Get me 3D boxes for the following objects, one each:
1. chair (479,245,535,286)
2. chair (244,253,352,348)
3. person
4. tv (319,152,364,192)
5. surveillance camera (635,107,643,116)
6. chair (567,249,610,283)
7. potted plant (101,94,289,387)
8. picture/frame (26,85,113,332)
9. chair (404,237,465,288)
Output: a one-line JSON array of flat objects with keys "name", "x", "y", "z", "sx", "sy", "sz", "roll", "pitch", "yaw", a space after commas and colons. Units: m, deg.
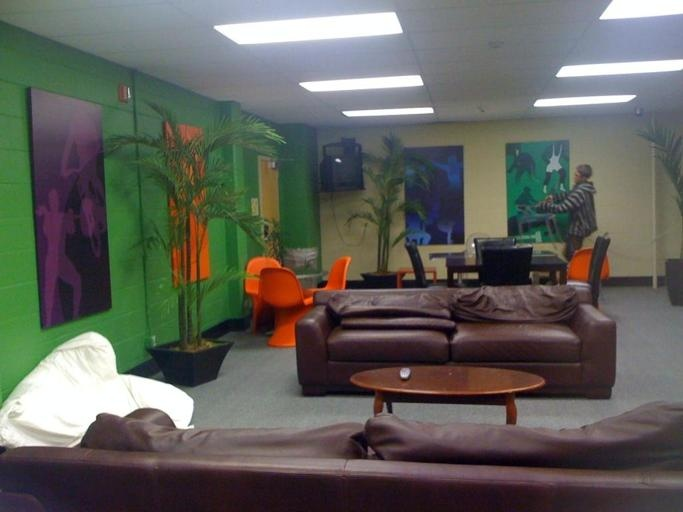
[{"name": "chair", "x": 1.555, "y": 0.070, "z": 5.331, "sx": 0.376, "sy": 0.536, "sz": 0.431, "roll": 2, "pitch": 14, "yaw": 10}, {"name": "chair", "x": -0.543, "y": 0.477, "z": 6.094, "sx": 1.074, "sy": 0.884, "sz": 0.929, "roll": 5, "pitch": -5, "yaw": -42}, {"name": "person", "x": 3.520, "y": -0.461, "z": 8.669, "sx": 0.985, "sy": 1.851, "sz": 0.772, "roll": -5, "pitch": 8, "yaw": -9}, {"name": "tv", "x": -0.004, "y": -1.357, "z": 8.836, "sx": 0.710, "sy": 0.542, "sz": 0.694, "roll": 2, "pitch": 9, "yaw": 1}, {"name": "surveillance camera", "x": 4.208, "y": -2.070, "z": 7.747, "sx": 0.102, "sy": 0.102, "sz": 0.140, "roll": 0, "pitch": 6, "yaw": 19}, {"name": "chair", "x": 2.945, "y": 0.108, "z": 6.546, "sx": 0.444, "sy": 0.640, "sz": 0.497, "roll": 2, "pitch": 4, "yaw": 16}, {"name": "potted plant", "x": -1.328, "y": -0.072, "z": 4.900, "sx": 1.788, "sy": 2.378, "sz": 1.306, "roll": 1, "pitch": -15, "yaw": -14}, {"name": "picture/frame", "x": -1.924, "y": -0.312, "z": 3.960, "sx": 0.943, "sy": 1.738, "sz": 0.030, "roll": 7, "pitch": 9, "yaw": 30}, {"name": "chair", "x": 1.094, "y": 0.037, "z": 6.636, "sx": 0.555, "sy": 0.869, "sz": 0.447, "roll": -5, "pitch": 4, "yaw": 11}]
